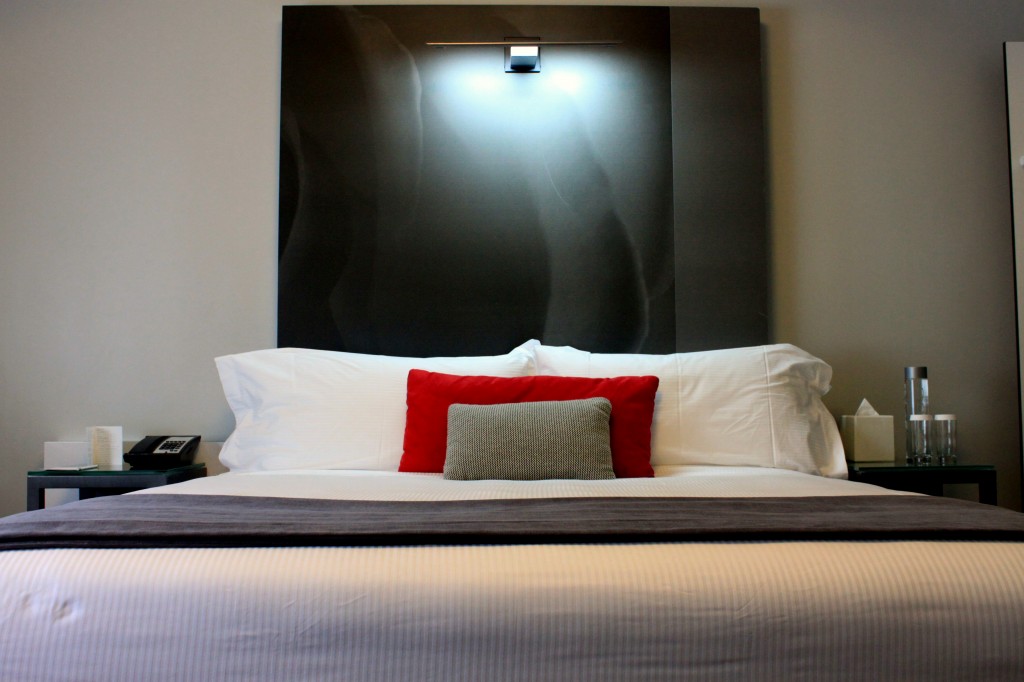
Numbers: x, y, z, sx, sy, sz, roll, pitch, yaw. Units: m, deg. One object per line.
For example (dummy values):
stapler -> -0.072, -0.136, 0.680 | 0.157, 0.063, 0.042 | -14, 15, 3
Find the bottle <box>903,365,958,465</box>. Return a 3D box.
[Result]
bottle -> 2.014, 0.348, 4.339 | 0.205, 0.463, 0.392 | -2, -4, 24

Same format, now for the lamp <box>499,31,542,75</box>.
lamp -> 0.051, -1.405, 4.489 | 0.184, 0.182, 0.128 | 0, -5, 1

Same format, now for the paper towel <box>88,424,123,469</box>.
paper towel -> -1.949, 0.507, 4.302 | 0.123, 0.239, 0.168 | -4, -3, 17

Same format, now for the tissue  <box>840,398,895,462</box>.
tissue  -> 1.716, 0.443, 4.462 | 0.245, 0.395, 0.270 | -1, -3, 7
